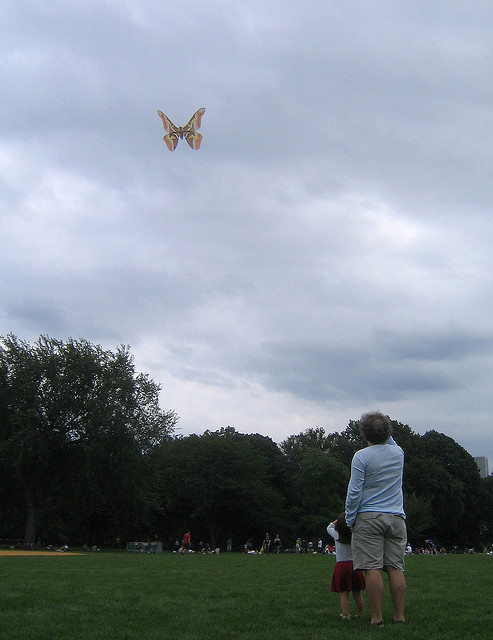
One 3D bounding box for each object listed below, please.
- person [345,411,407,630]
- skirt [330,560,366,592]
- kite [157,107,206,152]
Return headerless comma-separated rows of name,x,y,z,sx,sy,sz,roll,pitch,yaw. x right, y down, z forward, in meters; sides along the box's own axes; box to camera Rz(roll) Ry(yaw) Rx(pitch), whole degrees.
person,1.561,2.352,9.079,0.714,2.512,0.634,1,-15,13
skirt,1.329,3.357,9.842,0.426,0.419,0.504,2,-14,7
kite,-1.961,-5.742,22.774,1.166,1.435,0.850,5,-14,-5
